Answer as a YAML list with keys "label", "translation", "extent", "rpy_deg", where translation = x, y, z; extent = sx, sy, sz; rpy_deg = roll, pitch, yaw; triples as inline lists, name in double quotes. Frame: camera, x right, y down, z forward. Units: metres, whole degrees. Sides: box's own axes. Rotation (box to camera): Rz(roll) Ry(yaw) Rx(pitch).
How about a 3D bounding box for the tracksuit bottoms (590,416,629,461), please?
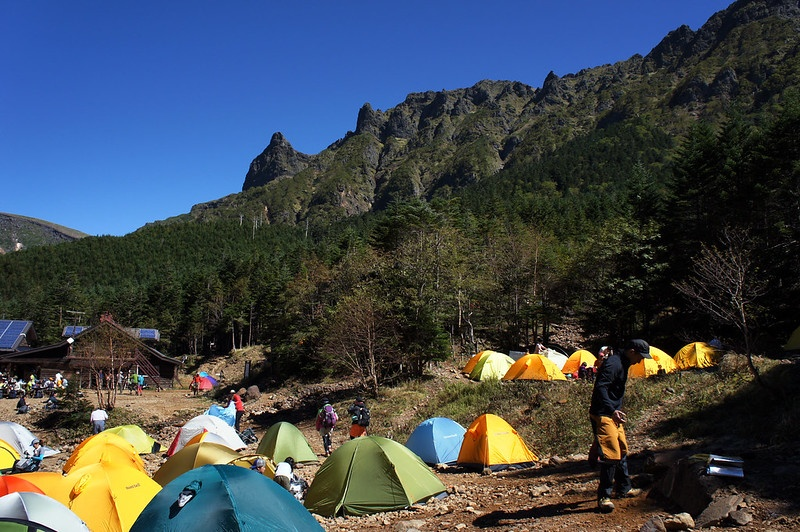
- label: "tracksuit bottoms"
  translation: [6.731, 5.523, 19.202]
  extent: [0.943, 1.464, 0.353]
  rpy_deg: [-4, -7, -2]
